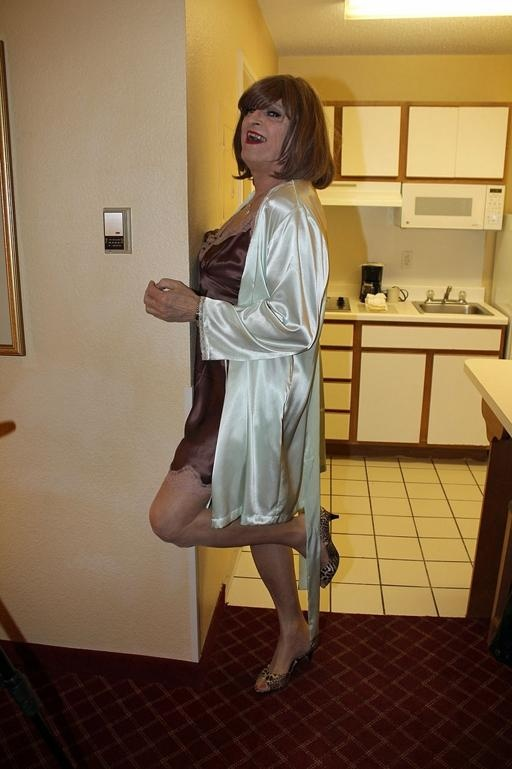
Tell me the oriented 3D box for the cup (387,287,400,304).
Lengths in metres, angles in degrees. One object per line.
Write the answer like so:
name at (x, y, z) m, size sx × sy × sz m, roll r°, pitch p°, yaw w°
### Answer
cup at (0.940, -0.609, 3.771) m, size 0.101 × 0.113 × 0.102 m, roll 0°, pitch 7°, yaw 0°

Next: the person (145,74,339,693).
person at (-0.024, 0.099, 1.385) m, size 0.432 × 1.591 × 0.488 m, roll 1°, pitch 7°, yaw 7°

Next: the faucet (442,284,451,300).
faucet at (1.291, -0.618, 3.765) m, size 0.050 × 0.113 × 0.168 m, roll 3°, pitch 8°, yaw 22°

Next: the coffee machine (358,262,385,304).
coffee machine at (0.764, -0.690, 3.695) m, size 0.219 × 0.351 × 0.229 m, roll 2°, pitch 9°, yaw 15°

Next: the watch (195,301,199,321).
watch at (-0.122, -0.150, 1.155) m, size 0.008 × 0.026 × 0.028 m, roll 6°, pitch 53°, yaw -2°

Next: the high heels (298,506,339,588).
high heels at (0.191, 0.471, 1.604) m, size 0.122 × 0.309 × 0.093 m, roll 3°, pitch -3°, yaw -21°

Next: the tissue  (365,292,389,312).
tissue  at (0.750, -0.517, 3.491) m, size 0.129 × 0.105 × 0.150 m, roll 1°, pitch 7°, yaw 8°

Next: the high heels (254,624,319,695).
high heels at (0.096, 0.811, 1.640) m, size 0.084 × 0.052 × 0.290 m, roll -9°, pitch -2°, yaw 31°
